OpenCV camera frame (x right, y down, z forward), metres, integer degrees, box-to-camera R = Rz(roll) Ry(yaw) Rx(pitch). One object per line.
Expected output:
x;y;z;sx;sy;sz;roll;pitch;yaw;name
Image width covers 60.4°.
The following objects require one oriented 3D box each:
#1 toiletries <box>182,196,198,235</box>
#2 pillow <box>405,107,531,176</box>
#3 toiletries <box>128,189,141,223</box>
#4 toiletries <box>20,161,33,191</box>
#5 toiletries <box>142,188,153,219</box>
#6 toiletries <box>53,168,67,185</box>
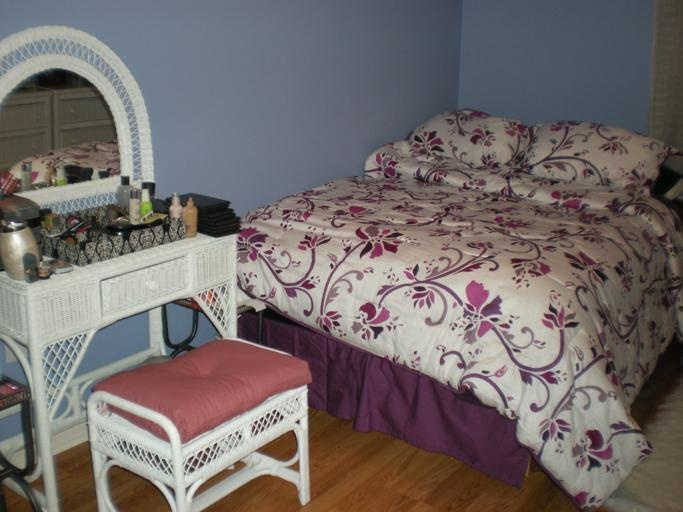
-0.632;-0.153;2.409;0.056;0.151;0.062;-12;21;-31;toiletries
0.820;-0.784;3.904;0.607;0.146;0.489;13;38;23;pillow
-0.827;-0.202;2.329;0.059;0.134;0.179;-7;17;-19;toiletries
-1.226;-0.309;2.268;0.014;0.113;0.050;9;20;26;toiletries
-0.804;-0.217;2.391;0.041;0.116;0.132;-6;16;-16;toiletries
-1.144;-0.323;2.361;0.041;0.091;0.038;-8;32;-36;toiletries
